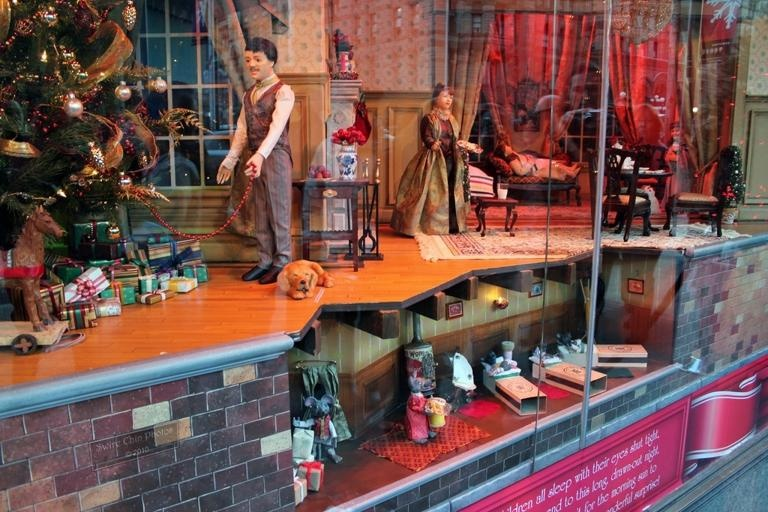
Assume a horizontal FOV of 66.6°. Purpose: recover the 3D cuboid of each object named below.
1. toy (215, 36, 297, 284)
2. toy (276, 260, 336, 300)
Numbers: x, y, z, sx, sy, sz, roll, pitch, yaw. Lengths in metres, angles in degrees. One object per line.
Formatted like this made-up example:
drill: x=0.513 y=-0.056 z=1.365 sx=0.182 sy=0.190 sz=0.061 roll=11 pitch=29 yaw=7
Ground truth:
toy: x=-0.663 y=-0.448 z=3.083 sx=0.387 sy=1.265 sz=0.460 roll=-1 pitch=10 yaw=-2
toy: x=-0.422 y=0.118 z=3.021 sx=0.196 sy=0.091 sz=0.243 roll=-3 pitch=18 yaw=-10
